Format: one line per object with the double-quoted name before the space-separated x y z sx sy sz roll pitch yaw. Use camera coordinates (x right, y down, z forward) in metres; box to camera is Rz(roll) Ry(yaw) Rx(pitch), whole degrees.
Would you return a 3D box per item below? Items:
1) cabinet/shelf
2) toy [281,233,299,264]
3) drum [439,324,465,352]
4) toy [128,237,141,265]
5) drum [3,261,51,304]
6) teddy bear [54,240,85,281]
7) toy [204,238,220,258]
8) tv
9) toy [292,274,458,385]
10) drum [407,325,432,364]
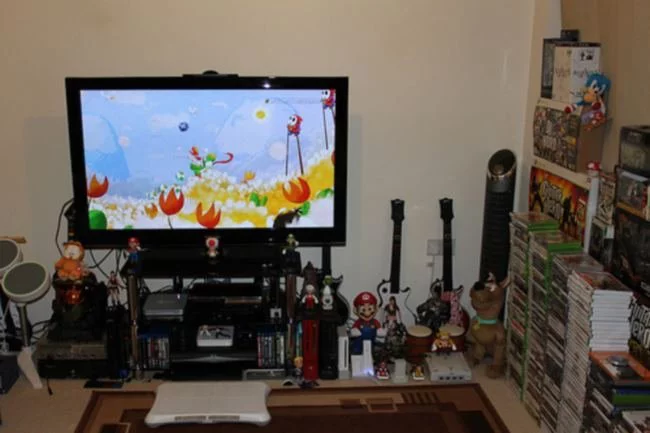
"cabinet/shelf" -0.947 0.854 4.444 1.360 0.946 0.726 1 5 -12
"toy" -0.295 0.260 4.209 0.130 0.232 0.074 -6 23 -12
"drum" 1.071 1.028 4.458 0.215 0.203 0.219 1 4 9
"toy" -1.522 0.261 4.103 0.092 0.224 0.134 -1 -10 -21
"drum" -2.408 0.525 4.150 0.332 0.333 0.162 -6 -10 8
"teddy bear" -2.041 0.357 4.150 0.222 0.309 0.191 6 7 -8
"toy" -0.918 0.248 4.162 0.139 0.256 0.059 3 28 -3
"tv" -0.958 -0.364 4.107 1.620 1.061 0.146 0 9 -3
"toy" 0.391 0.984 4.388 0.877 0.807 0.261 -1 5 -8
"drum" 0.772 1.069 4.377 0.269 0.286 0.272 1 5 0
